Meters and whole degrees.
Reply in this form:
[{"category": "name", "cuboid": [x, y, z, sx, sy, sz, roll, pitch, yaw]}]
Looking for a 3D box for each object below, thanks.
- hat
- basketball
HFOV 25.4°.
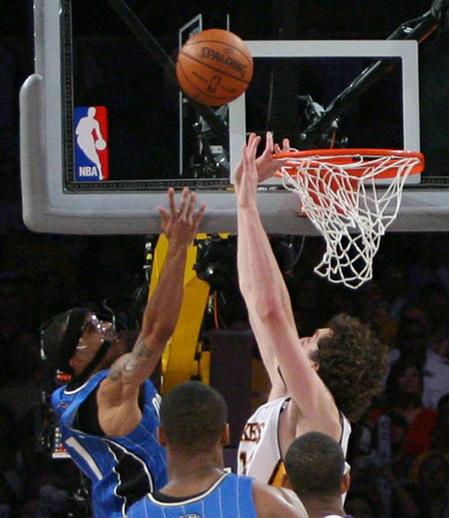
[{"category": "hat", "cuboid": [-0.588, 0.294, 3.726, 0.207, 0.235, 0.161, 7, 3, 17]}, {"category": "basketball", "cuboid": [-0.055, -0.677, 3.691, 0.268, 0.251, 0.332, 3, -52, -3]}]
